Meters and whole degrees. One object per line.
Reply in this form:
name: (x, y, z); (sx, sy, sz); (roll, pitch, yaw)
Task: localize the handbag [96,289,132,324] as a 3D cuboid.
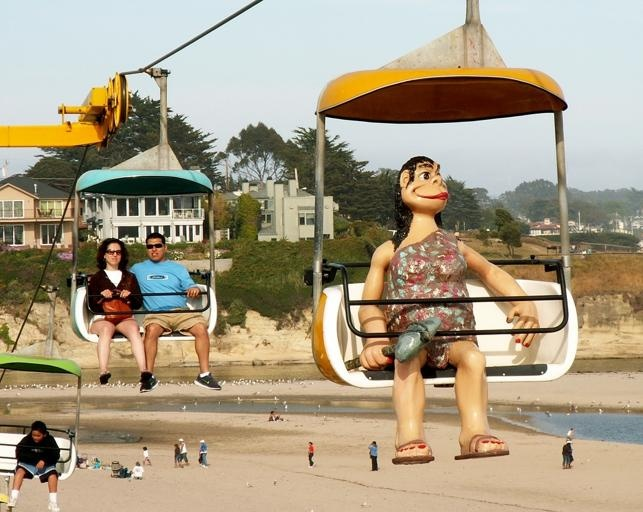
handbag: (-4.438, 1.094, 28.710); (0.630, 0.857, 0.439); (0, -18, -24)

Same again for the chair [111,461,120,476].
chair: (-5.883, 6.117, 38.440); (0.276, 0.337, 0.295); (1, -4, 8)
